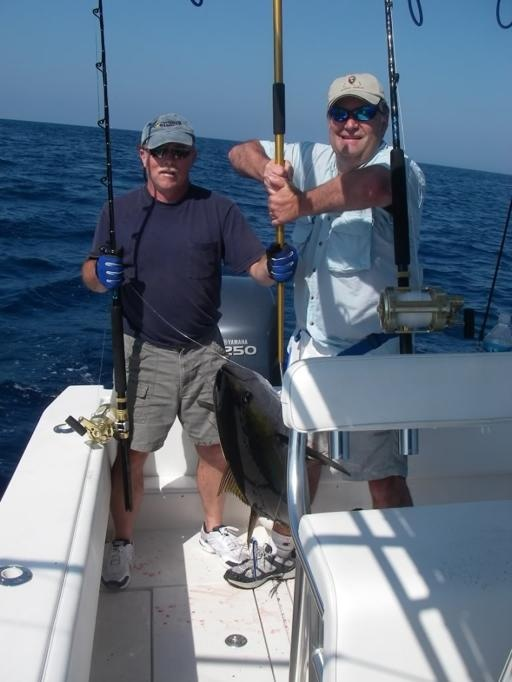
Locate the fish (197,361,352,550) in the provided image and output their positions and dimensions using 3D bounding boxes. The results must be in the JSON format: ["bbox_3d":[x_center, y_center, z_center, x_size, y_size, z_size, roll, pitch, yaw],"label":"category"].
[{"bbox_3d":[0.060,0.274,1.770,0.192,0.412,0.342,-24,6,-35],"label":"fish"}]

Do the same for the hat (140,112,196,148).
[{"bbox_3d":[-0.286,-0.660,2.159,0.135,0.084,0.178,0,6,-7],"label":"hat"}]

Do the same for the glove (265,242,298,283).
[{"bbox_3d":[0.090,-0.234,1.978,0.095,0.111,0.054,0,-2,-1],"label":"glove"}]

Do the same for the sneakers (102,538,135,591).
[{"bbox_3d":[-0.440,0.728,2.148,0.063,0.070,0.174,2,11,-6],"label":"sneakers"}]

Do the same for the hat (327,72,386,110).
[{"bbox_3d":[0.307,-0.777,2.065,0.180,0.105,0.142,3,21,7],"label":"hat"}]

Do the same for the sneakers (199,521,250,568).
[{"bbox_3d":[-0.104,0.718,2.361,0.210,0.080,0.085,10,4,39],"label":"sneakers"}]

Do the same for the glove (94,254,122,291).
[{"bbox_3d":[-0.454,-0.212,2.043,0.089,0.112,0.078,1,22,0],"label":"glove"}]
